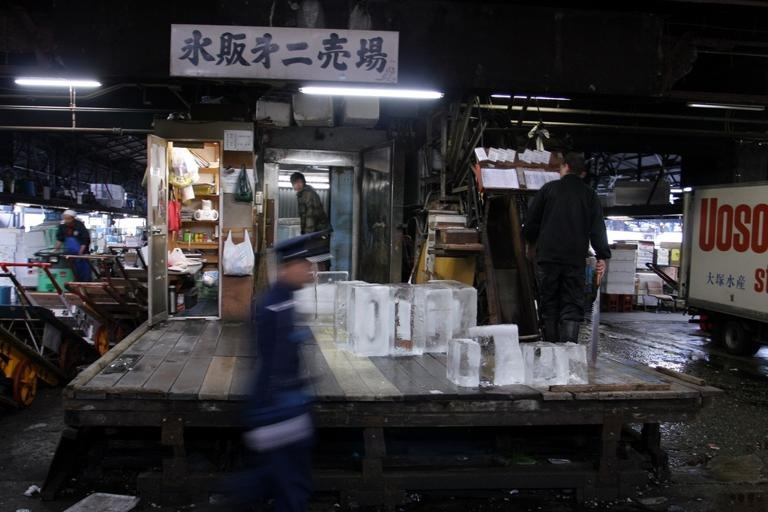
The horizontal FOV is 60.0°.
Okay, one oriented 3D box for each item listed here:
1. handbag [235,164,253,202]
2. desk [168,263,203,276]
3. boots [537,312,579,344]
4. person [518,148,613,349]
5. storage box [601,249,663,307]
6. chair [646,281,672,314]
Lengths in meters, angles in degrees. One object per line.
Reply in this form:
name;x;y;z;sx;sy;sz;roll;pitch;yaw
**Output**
handbag;-2.489;-1.253;11.653;0.327;0.630;0.155;-4;9;-11
desk;-3.805;0.257;12.581;0.428;0.203;0.940;-3;9;-2
boots;2.337;1.019;8.951;0.525;0.346;0.535;2;10;27
person;2.514;-0.139;9.157;0.844;2.508;0.917;-6;9;-19
storage box;6.744;0.677;18.237;1.745;1.505;0.868;2;-2;-33
chair;7.953;1.162;19.383;0.777;0.952;0.911;-1;1;-22
